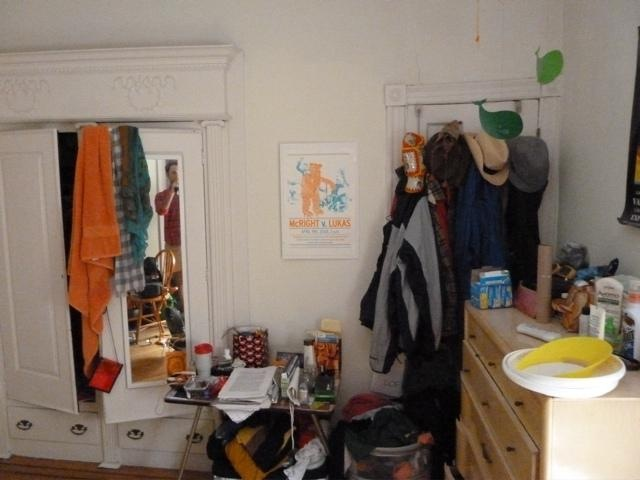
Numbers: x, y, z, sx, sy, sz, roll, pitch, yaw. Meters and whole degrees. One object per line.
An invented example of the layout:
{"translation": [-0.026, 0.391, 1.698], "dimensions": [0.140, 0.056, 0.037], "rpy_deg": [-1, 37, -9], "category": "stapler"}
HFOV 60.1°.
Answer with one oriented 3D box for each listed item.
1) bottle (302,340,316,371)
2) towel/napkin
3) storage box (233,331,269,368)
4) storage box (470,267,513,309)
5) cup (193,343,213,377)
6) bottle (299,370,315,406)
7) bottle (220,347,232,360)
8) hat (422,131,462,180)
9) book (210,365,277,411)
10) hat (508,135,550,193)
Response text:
{"translation": [-0.073, 0.727, 3.503], "dimensions": [0.090, 0.221, 0.146], "rpy_deg": [-4, 9, 5], "category": "bottle"}
{"translation": [-1.452, 0.082, 3.555], "dimensions": [0.402, 1.604, 0.215], "rpy_deg": [-8, 9, -17], "category": "towel/napkin"}
{"translation": [-0.444, 0.689, 3.671], "dimensions": [0.212, 0.224, 0.227], "rpy_deg": [1, 4, 15], "category": "storage box"}
{"translation": [0.920, 0.243, 3.054], "dimensions": [0.239, 0.247, 0.196], "rpy_deg": [-1, 0, -1], "category": "storage box"}
{"translation": [-0.726, 0.734, 3.471], "dimensions": [0.167, 0.250, 0.163], "rpy_deg": [-1, 0, 0], "category": "cup"}
{"translation": [-0.067, 0.881, 3.318], "dimensions": [0.114, 0.221, 0.118], "rpy_deg": [1, 4, 0], "category": "bottle"}
{"translation": [-0.609, 0.725, 3.591], "dimensions": [0.070, 0.069, 0.072], "rpy_deg": [-2, 13, -4], "category": "bottle"}
{"translation": [0.763, -0.528, 3.394], "dimensions": [0.212, 0.296, 0.104], "rpy_deg": [7, 1, 12], "category": "hat"}
{"translation": [-0.440, 0.874, 3.315], "dimensions": [0.326, 0.123, 0.363], "rpy_deg": [-4, 9, 5], "category": "book"}
{"translation": [1.259, -0.456, 3.327], "dimensions": [0.224, 0.342, 0.104], "rpy_deg": [-2, 9, 19], "category": "hat"}
